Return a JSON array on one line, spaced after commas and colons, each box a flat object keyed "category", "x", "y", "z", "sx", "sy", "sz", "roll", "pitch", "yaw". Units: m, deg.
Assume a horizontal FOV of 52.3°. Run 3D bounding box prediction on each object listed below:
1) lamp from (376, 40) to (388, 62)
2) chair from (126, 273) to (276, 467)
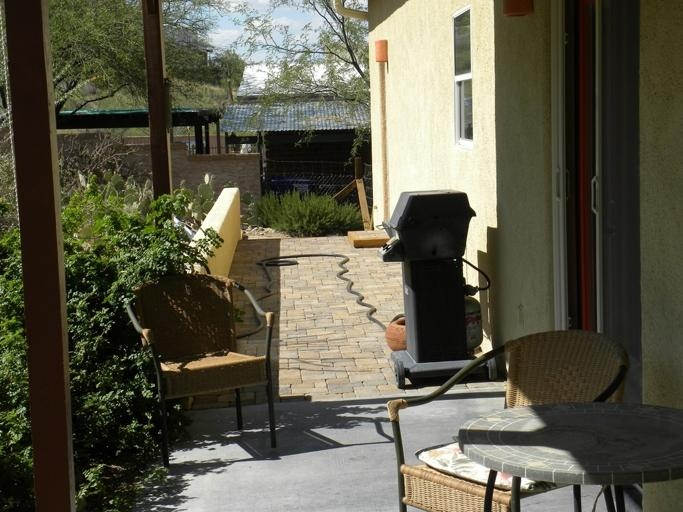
[{"category": "lamp", "x": 0.666, "y": -3.464, "z": 11.685, "sx": 0.208, "sy": 0.342, "sz": 0.177, "roll": 3, "pitch": 5, "yaw": 21}, {"category": "chair", "x": -0.912, "y": 0.730, "z": 4.532, "sx": 0.849, "sy": 1.142, "sz": 0.771, "roll": -5, "pitch": 0, "yaw": -29}]
